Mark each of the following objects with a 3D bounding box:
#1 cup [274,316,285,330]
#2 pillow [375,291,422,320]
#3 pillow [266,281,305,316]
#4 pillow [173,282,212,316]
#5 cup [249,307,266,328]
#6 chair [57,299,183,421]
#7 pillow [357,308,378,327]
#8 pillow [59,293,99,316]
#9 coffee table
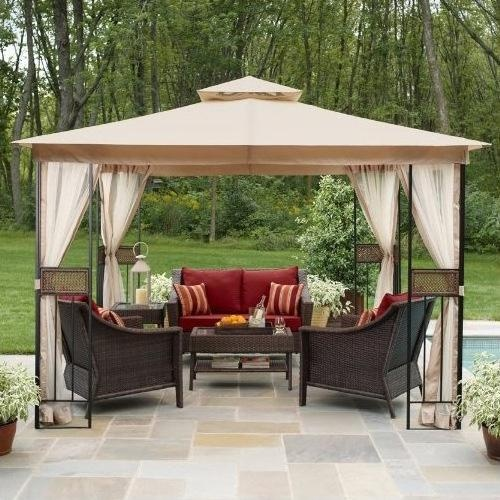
[{"bbox_3d":[0.284,0.666,5.602,0.105,0.141,0.111,0,-4,0],"label":"cup"},{"bbox_3d":[1.089,0.424,4.733,0.267,0.226,0.466,1,4,9],"label":"pillow"},{"bbox_3d":[0.362,0.527,6.574,0.310,0.263,0.121,4,-6,26],"label":"pillow"},{"bbox_3d":[-0.577,0.485,6.469,0.333,0.327,0.100,-1,-24,-45],"label":"pillow"},{"bbox_3d":[0.060,0.617,5.754,0.144,0.171,0.290,0,4,0],"label":"cup"},{"bbox_3d":[-1.056,0.800,5.031,0.918,0.880,0.780,-2,3,-28],"label":"chair"},{"bbox_3d":[0.945,0.547,4.929,0.058,0.146,0.145,31,-2,-5],"label":"pillow"},{"bbox_3d":[-1.281,0.398,4.659,0.293,0.186,0.382,-1,4,-16],"label":"pillow"},{"bbox_3d":[-0.066,0.964,5.777,0.940,0.568,0.812,1,4,1],"label":"coffee table"}]
